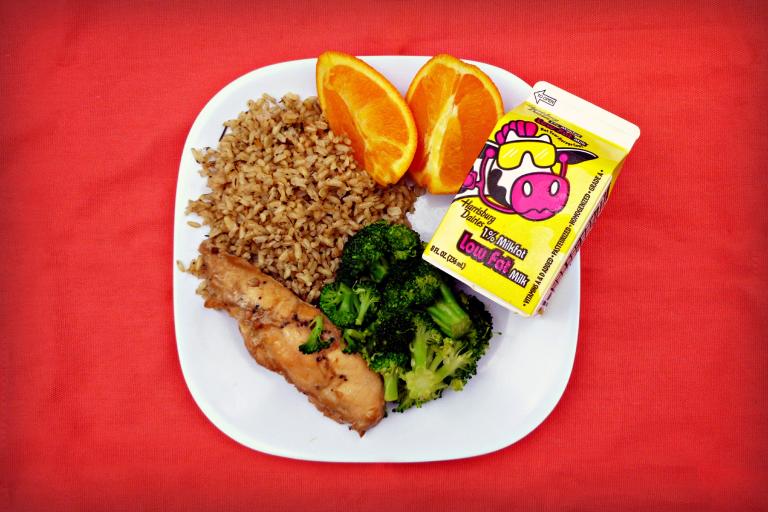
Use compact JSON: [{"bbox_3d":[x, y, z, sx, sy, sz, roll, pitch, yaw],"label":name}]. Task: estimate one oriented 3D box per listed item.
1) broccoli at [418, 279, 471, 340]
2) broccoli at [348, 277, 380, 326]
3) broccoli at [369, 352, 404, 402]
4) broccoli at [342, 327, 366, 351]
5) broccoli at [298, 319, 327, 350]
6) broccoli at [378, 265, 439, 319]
[{"bbox_3d":[0.398,0.358,4.824,0.227,0.112,0.385,-38,75,5],"label":"broccoli"},{"bbox_3d":[-0.125,0.308,4.938,0.185,0.098,0.270,13,91,47],"label":"broccoli"},{"bbox_3d":[0.017,0.816,5.010,0.269,0.276,0.338,-2,90,-10],"label":"broccoli"},{"bbox_3d":[-0.203,0.564,4.936,0.136,0.055,0.149,-21,95,-11],"label":"broccoli"},{"bbox_3d":[-0.460,0.534,4.885,0.123,0.048,0.228,5,84,-6],"label":"broccoli"},{"bbox_3d":[0.179,0.200,4.858,0.307,0.111,0.300,8,85,3],"label":"broccoli"}]
